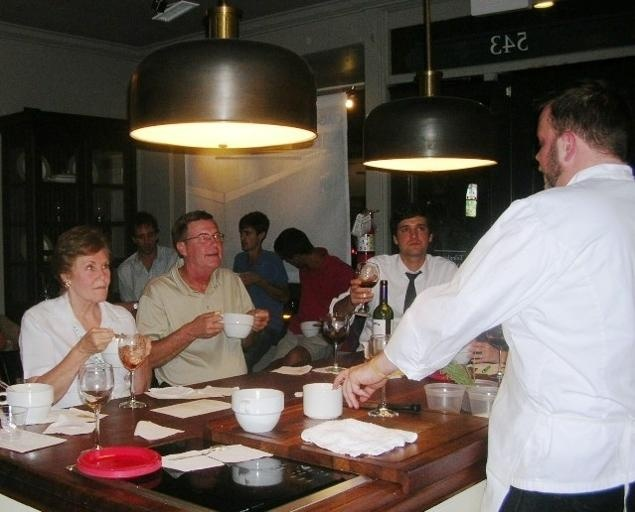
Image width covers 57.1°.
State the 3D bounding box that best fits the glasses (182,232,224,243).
[{"bbox_3d":[-0.609,-0.092,3.066,0.099,0.025,0.096,-14,-8,35],"label":"glasses"}]

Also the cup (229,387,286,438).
[{"bbox_3d":[-0.192,0.514,1.897,0.189,0.124,0.223,2,-9,-15],"label":"cup"}]

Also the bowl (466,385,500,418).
[{"bbox_3d":[0.577,0.507,2.062,0.106,0.076,0.103,2,3,0],"label":"bowl"}]

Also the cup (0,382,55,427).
[{"bbox_3d":[-0.948,0.483,1.901,0.135,0.104,0.142,0,-5,0],"label":"cup"}]

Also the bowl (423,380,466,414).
[{"bbox_3d":[0.450,0.498,2.051,0.114,0.065,0.110,1,-4,0],"label":"bowl"}]

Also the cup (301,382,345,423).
[{"bbox_3d":[0.014,0.503,2.019,0.146,0.106,0.149,2,2,0],"label":"cup"}]

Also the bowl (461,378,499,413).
[{"bbox_3d":[0.566,0.499,2.078,0.124,0.090,0.123,3,3,0],"label":"bowl"}]

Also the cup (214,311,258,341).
[{"bbox_3d":[-0.367,0.324,2.661,0.139,0.137,0.153,-1,3,-8],"label":"cup"}]

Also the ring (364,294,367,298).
[{"bbox_3d":[0.227,0.193,2.779,0.016,0.020,0.006,2,-1,8],"label":"ring"}]

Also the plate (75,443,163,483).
[{"bbox_3d":[-0.535,0.563,1.576,0.192,0.030,0.187,4,-1,2],"label":"plate"}]

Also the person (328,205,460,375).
[{"bbox_3d":[0.541,0.327,3.505,0.937,1.238,0.785,0,-5,-1],"label":"person"}]

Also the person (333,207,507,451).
[{"bbox_3d":[0.582,0.368,3.537,0.934,1.285,0.842,-4,-1,7],"label":"person"}]

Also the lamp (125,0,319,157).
[{"bbox_3d":[-0.253,-0.443,1.791,0.556,0.412,0.537,-2,-8,6],"label":"lamp"}]

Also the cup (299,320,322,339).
[{"bbox_3d":[-0.030,0.402,3.151,0.097,0.077,0.108,-1,-11,3],"label":"cup"}]
